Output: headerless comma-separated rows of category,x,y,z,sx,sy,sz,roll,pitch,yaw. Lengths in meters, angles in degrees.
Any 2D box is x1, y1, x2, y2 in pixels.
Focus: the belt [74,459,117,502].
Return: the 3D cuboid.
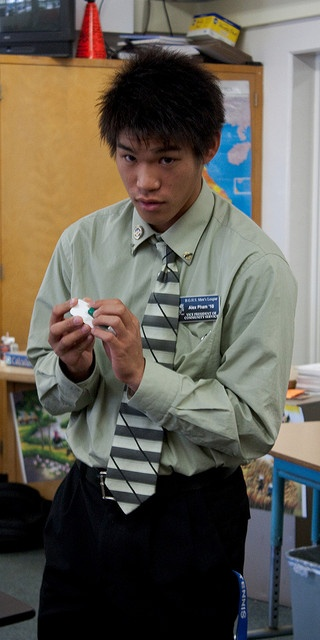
belt,-0.107,0.263,0.778,0.059,0.016,0.044,40,0,8
